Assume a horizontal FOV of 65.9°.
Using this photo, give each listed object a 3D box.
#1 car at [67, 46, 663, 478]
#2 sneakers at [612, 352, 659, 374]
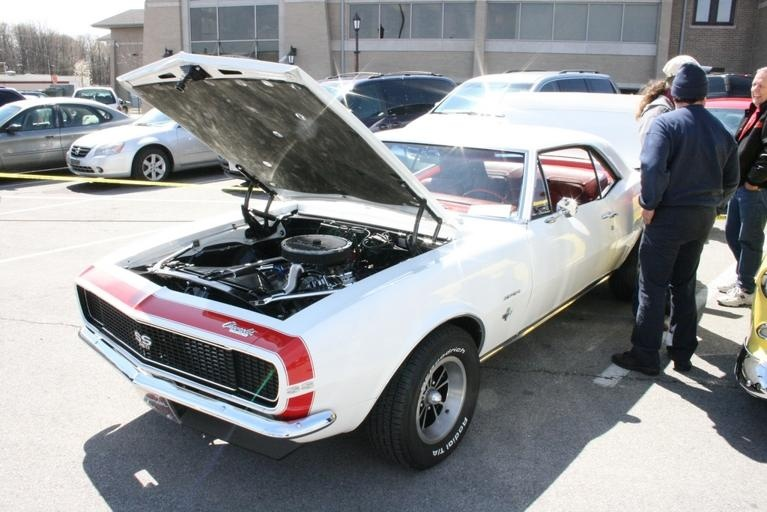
[{"bbox_3d":[0.398,-0.246,5.460,2.579,2.160,5.314,16,26,41],"label":"car"},{"bbox_3d":[2.227,0.915,5.329,0.409,0.170,0.162,14,20,40],"label":"sneakers"}]
